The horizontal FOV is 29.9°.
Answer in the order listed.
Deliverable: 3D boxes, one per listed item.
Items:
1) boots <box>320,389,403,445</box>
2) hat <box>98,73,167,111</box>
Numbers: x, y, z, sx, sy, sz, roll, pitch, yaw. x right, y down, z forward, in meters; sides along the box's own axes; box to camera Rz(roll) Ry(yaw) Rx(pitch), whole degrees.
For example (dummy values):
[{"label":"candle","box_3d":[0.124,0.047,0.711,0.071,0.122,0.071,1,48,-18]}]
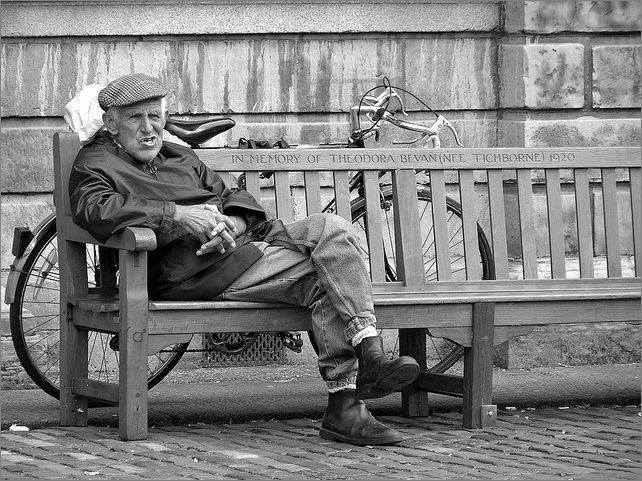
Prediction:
[{"label":"boots","box_3d":[0.209,0.956,6.457,0.192,0.292,0.511,4,-3,-42]},{"label":"hat","box_3d":[-1.058,-0.844,6.619,0.230,0.092,0.262,-16,1,-33]}]
